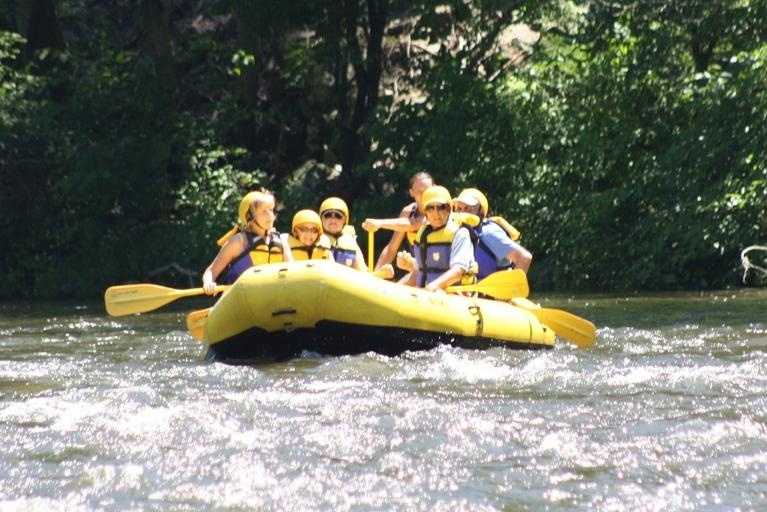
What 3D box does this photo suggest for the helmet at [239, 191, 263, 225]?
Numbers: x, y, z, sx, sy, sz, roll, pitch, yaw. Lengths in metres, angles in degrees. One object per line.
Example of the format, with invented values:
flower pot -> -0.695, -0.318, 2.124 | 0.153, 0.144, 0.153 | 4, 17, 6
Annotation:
helmet -> -2.183, -0.774, 22.257 | 0.343, 0.563, 0.602 | 4, 0, -5

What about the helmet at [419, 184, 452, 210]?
helmet -> 0.890, -0.960, 22.524 | 0.460, 0.412, 0.649 | 4, -1, -2

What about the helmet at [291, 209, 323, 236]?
helmet -> -1.269, -0.614, 22.681 | 0.363, 0.362, 0.475 | 7, -26, -10

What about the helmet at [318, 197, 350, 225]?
helmet -> -0.825, -0.812, 23.396 | 0.501, 0.536, 0.680 | 5, -31, 0
